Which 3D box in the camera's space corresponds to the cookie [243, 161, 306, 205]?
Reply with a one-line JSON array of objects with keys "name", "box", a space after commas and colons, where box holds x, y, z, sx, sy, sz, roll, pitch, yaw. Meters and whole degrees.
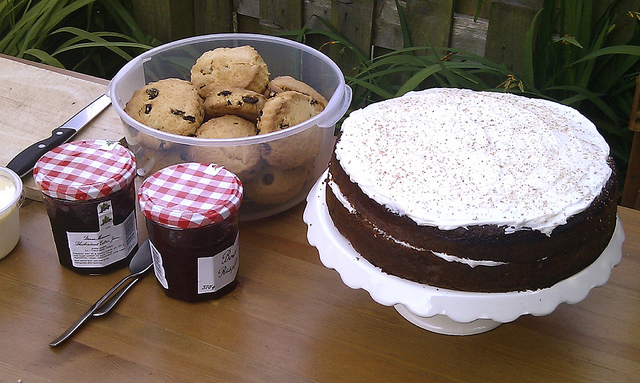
[{"name": "cookie", "box": [-0.103, -0.031, 1.401, 0.121, 0.086, 0.189, -5, 25, -4]}]

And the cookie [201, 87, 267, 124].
[{"name": "cookie", "box": [-0.191, -0.199, 1.384, 0.173, 0.159, 0.063, 2, 85, 0]}]

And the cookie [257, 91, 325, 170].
[{"name": "cookie", "box": [-0.052, -0.143, 1.328, 0.216, 0.140, 0.109, -30, 53, -29]}]

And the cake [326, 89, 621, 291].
[{"name": "cake", "box": [0.300, -0.013, 1.183, 0.557, 0.198, 0.383, 0, 44, -2]}]

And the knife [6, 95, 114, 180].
[{"name": "knife", "box": [-0.613, -0.122, 1.378, 0.047, 0.032, 0.333, 36, 43, 2]}]

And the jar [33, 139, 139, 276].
[{"name": "jar", "box": [-0.490, 0.022, 1.280, 0.205, 0.210, 0.254, -14, 47, -16]}]

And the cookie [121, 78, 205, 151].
[{"name": "cookie", "box": [-0.356, -0.177, 1.350, 0.182, 0.099, 0.182, 13, 45, 10]}]

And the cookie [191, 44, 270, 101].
[{"name": "cookie", "box": [-0.215, -0.275, 1.383, 0.149, 0.072, 0.111, -5, 73, -2]}]
